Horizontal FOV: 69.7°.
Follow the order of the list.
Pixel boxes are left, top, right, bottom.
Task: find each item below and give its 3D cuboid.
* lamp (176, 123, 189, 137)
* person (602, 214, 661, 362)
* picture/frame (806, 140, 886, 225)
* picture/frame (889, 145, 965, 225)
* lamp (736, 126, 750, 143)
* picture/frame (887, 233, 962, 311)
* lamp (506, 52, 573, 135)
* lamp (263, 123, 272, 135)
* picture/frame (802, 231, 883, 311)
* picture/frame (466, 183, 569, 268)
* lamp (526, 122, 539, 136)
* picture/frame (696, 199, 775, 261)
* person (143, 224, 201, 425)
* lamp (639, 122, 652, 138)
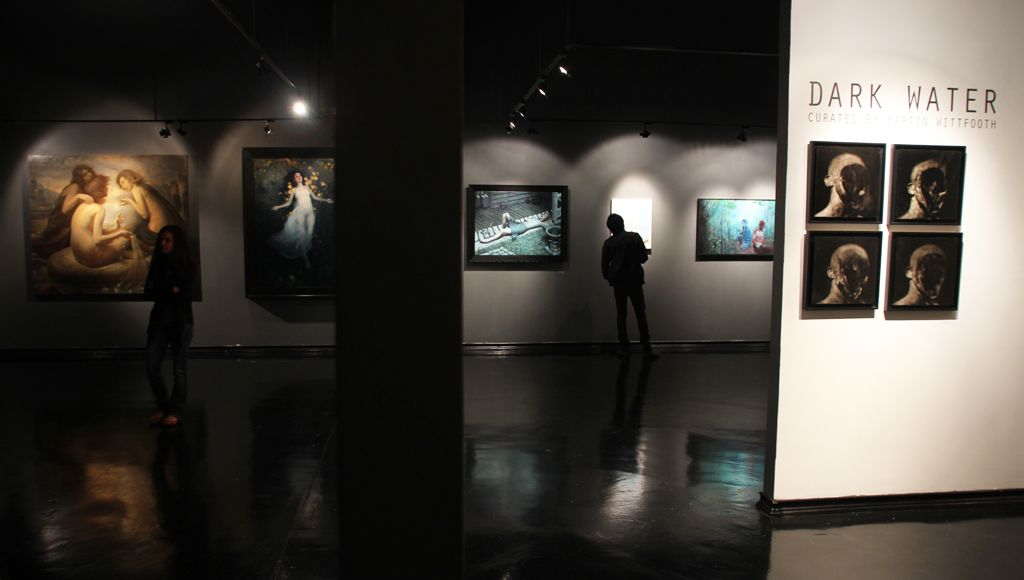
[{"bbox_3d":[-5.517,-2.699,12.307,0.262,0.237,0.071,20,26,30],"label":"lamp"},{"bbox_3d":[1.981,-0.087,12.621,0.925,2.413,0.525,2,3,2],"label":"person"},{"bbox_3d":[3.546,-1.193,7.916,0.938,0.907,0.097,0,6,-6],"label":"picture/frame"},{"bbox_3d":[4.466,-1.180,7.986,0.851,0.929,0.067,1,3,-4],"label":"picture/frame"},{"bbox_3d":[4.013,-2.739,12.849,0.182,0.252,0.313,3,3,19],"label":"lamp"},{"bbox_3d":[4.440,-0.220,8.020,0.844,0.928,0.070,2,3,0],"label":"picture/frame"},{"bbox_3d":[0.387,-3.285,11.623,1.067,1.270,2.106,2,3,3],"label":"lamp"},{"bbox_3d":[-4.133,-2.748,12.495,0.074,0.197,0.171,13,-16,-36],"label":"lamp"},{"bbox_3d":[3.516,-0.200,7.945,0.870,0.847,0.041,2,3,-3],"label":"picture/frame"},{"bbox_3d":[0.024,-1.176,12.793,1.508,1.201,0.081,0,0,-3],"label":"picture/frame"},{"bbox_3d":[0.348,-2.771,12.554,0.192,0.201,0.204,-1,1,-3],"label":"lamp"},{"bbox_3d":[3.972,-1.073,13.078,1.606,1.070,0.055,0,4,-17],"label":"picture/frame"},{"bbox_3d":[-4.441,0.453,9.544,0.563,2.570,0.435,1,3,-22],"label":"person"},{"bbox_3d":[2.284,-2.782,12.655,0.207,0.250,0.364,2,3,10],"label":"lamp"}]
